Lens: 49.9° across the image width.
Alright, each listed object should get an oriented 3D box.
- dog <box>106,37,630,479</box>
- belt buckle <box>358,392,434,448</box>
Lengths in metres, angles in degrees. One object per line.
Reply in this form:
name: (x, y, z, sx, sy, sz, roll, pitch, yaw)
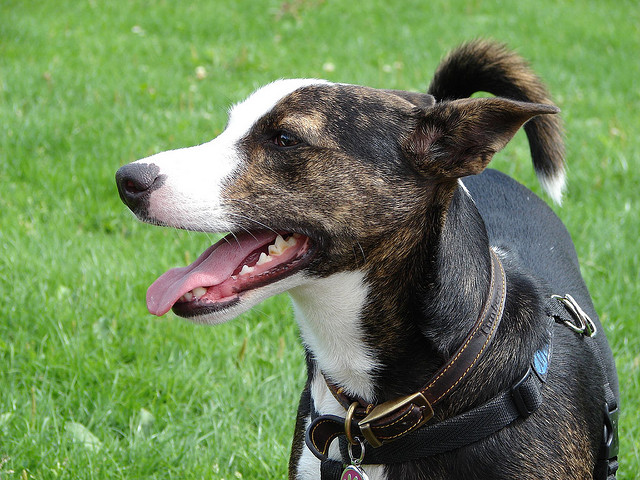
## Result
dog: (0.560, 0.041, 3.819, 1.589, 2.894, 2.058, -3, 97, 38)
belt buckle: (0.329, 0.764, 2.908, 0.343, 0.250, 0.164, -17, 80, -17)
